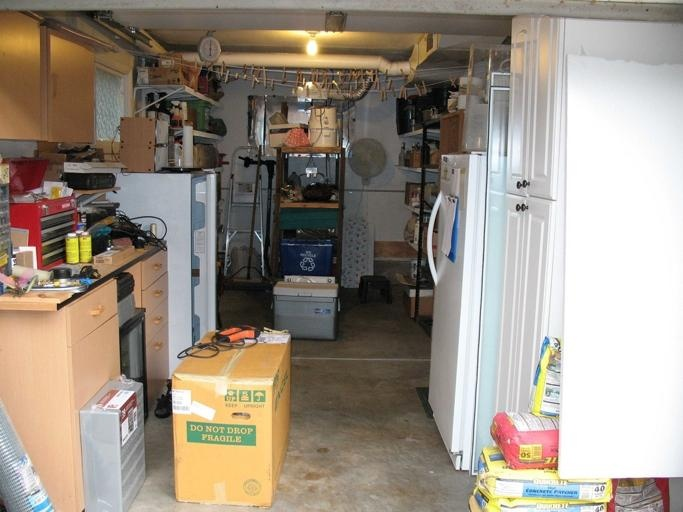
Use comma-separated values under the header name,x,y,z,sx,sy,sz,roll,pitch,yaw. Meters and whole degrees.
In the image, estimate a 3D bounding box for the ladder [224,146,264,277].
name,x,y,z,sx,sy,sz,roll,pitch,yaw
ladder,-1.305,-0.605,7.678,0.559,1.727,0.705,0,12,-12

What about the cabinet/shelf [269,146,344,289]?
name,x,y,z,sx,sy,sz,roll,pitch,yaw
cabinet/shelf,-0.443,-0.537,7.026,0.988,1.646,2.594,2,12,-1

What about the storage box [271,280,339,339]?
name,x,y,z,sx,sy,sz,roll,pitch,yaw
storage box,-0.299,0.490,5.716,0.849,0.720,0.479,2,10,5

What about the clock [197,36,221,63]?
name,x,y,z,sx,sy,sz,roll,pitch,yaw
clock,-1.234,-1.875,5.213,0.191,0.250,0.059,-4,17,-27

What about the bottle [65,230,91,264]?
name,x,y,z,sx,sy,sz,roll,pitch,yaw
bottle,-1.556,-0.047,3.366,0.177,0.195,0.176,0,3,-9

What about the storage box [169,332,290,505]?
name,x,y,z,sx,sy,sz,roll,pitch,yaw
storage box,-0.632,0.911,3.186,0.598,0.731,0.586,3,12,3

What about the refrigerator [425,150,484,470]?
name,x,y,z,sx,sy,sz,roll,pitch,yaw
refrigerator,0.666,0.299,3.540,0.268,1.866,0.787,1,12,-5
